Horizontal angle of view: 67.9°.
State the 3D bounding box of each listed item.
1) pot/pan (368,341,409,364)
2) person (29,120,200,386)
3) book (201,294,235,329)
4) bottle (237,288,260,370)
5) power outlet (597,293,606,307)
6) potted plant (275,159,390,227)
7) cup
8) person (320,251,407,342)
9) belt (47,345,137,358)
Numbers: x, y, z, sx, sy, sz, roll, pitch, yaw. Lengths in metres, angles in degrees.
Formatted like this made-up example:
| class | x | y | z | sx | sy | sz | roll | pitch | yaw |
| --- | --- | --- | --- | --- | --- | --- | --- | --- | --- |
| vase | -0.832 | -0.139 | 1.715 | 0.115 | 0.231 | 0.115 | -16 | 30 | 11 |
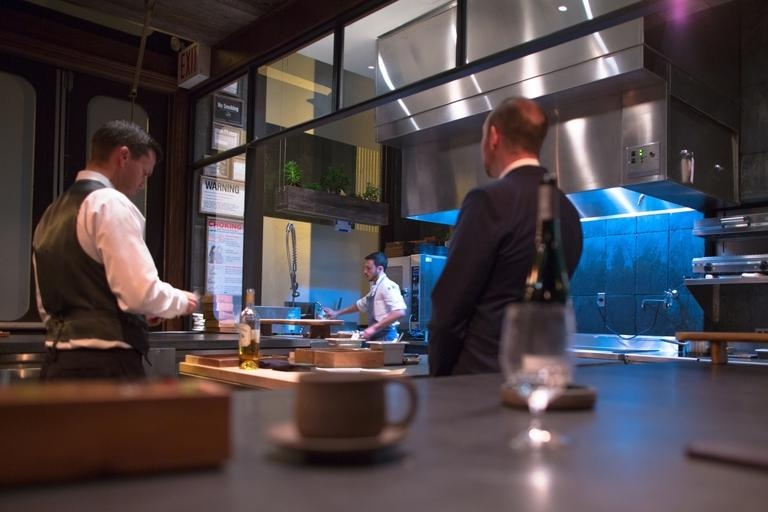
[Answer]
| class | x | y | z | sx | sy | sz | roll | pitch | yaw |
| --- | --- | --- | --- | --- | --- | --- | --- | --- | --- |
| pot/pan | 0.034 | 0.409 | 2.462 | 0.120 | 0.075 | 0.119 | 3 | -5 | -35 |
| person | -1.029 | -0.041 | 2.185 | 0.530 | 1.056 | 0.626 | 3 | -1 | -32 |
| book | -1.170 | 0.405 | 4.018 | 0.210 | 0.256 | 0.358 | 0 | 0 | -13 |
| bottle | -0.521 | 0.313 | 2.202 | 0.072 | 0.267 | 0.136 | 2 | -1 | -15 |
| power outlet | 1.915 | 0.380 | 5.052 | 0.085 | 0.090 | 0.030 | 2 | -1 | 33 |
| potted plant | -0.479 | -0.532 | 5.416 | 1.076 | 0.364 | 0.213 | 7 | -10 | -35 |
| cup | -0.035 | 0.197 | 0.803 | 0.129 | 0.060 | 0.087 | 2 | -4 | -11 |
| person | -0.255 | 0.431 | 6.450 | 0.530 | 1.174 | 0.594 | 6 | -27 | -14 |
| belt | -1.109 | 0.359 | 2.137 | 0.341 | 0.049 | 0.104 | 2 | -1 | -6 |
